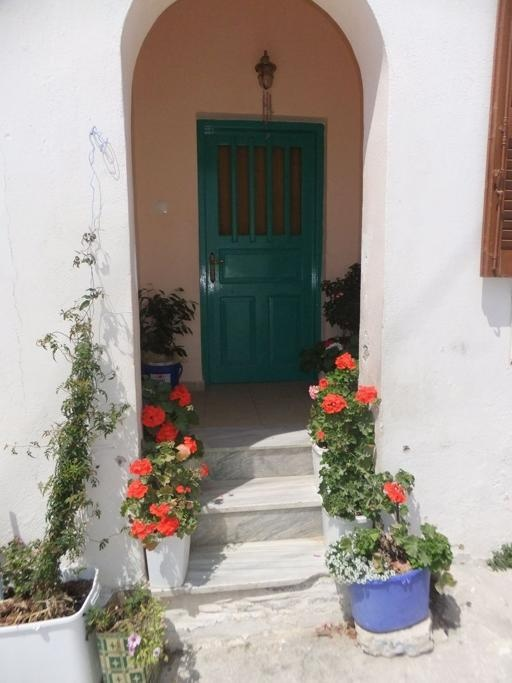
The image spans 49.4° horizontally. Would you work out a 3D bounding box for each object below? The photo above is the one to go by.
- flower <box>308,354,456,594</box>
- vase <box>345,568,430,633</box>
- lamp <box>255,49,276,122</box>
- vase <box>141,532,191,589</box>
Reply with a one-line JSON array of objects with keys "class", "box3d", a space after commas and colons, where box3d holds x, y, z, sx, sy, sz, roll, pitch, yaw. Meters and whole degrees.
[{"class": "flower", "box3d": [0.473, 0.527, 2.262, 0.489, 0.925, 0.711, -3, 4, 4]}, {"class": "vase", "box3d": [0.486, 0.896, 2.050, 0.252, 0.156, 0.254, -3, -14, -1]}, {"class": "lamp", "box3d": [0.074, -1.771, 3.808, 0.141, 0.435, 0.174, -3, 4, 3]}, {"class": "vase", "box3d": [-0.318, 0.853, 2.182, 0.195, 0.241, 0.170, -2, -1, 7]}]
